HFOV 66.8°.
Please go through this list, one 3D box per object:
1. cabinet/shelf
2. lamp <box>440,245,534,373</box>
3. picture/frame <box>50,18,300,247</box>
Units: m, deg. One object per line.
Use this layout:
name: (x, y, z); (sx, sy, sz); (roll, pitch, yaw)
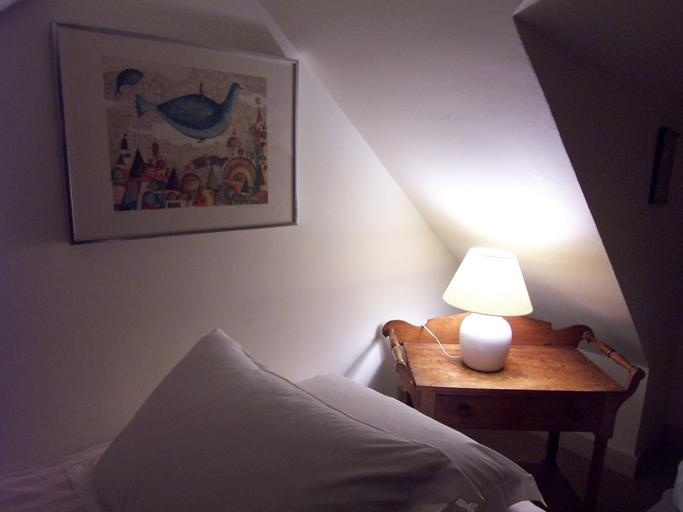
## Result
cabinet/shelf: (0.610, 0.511, 2.332); (1.274, 1.067, 0.731); (0, 10, -1)
lamp: (0.532, 0.203, 2.320); (0.436, 0.573, 0.460); (-2, 15, -5)
picture/frame: (-0.602, -0.442, 1.783); (0.776, 0.615, 0.027); (-7, 16, -33)
